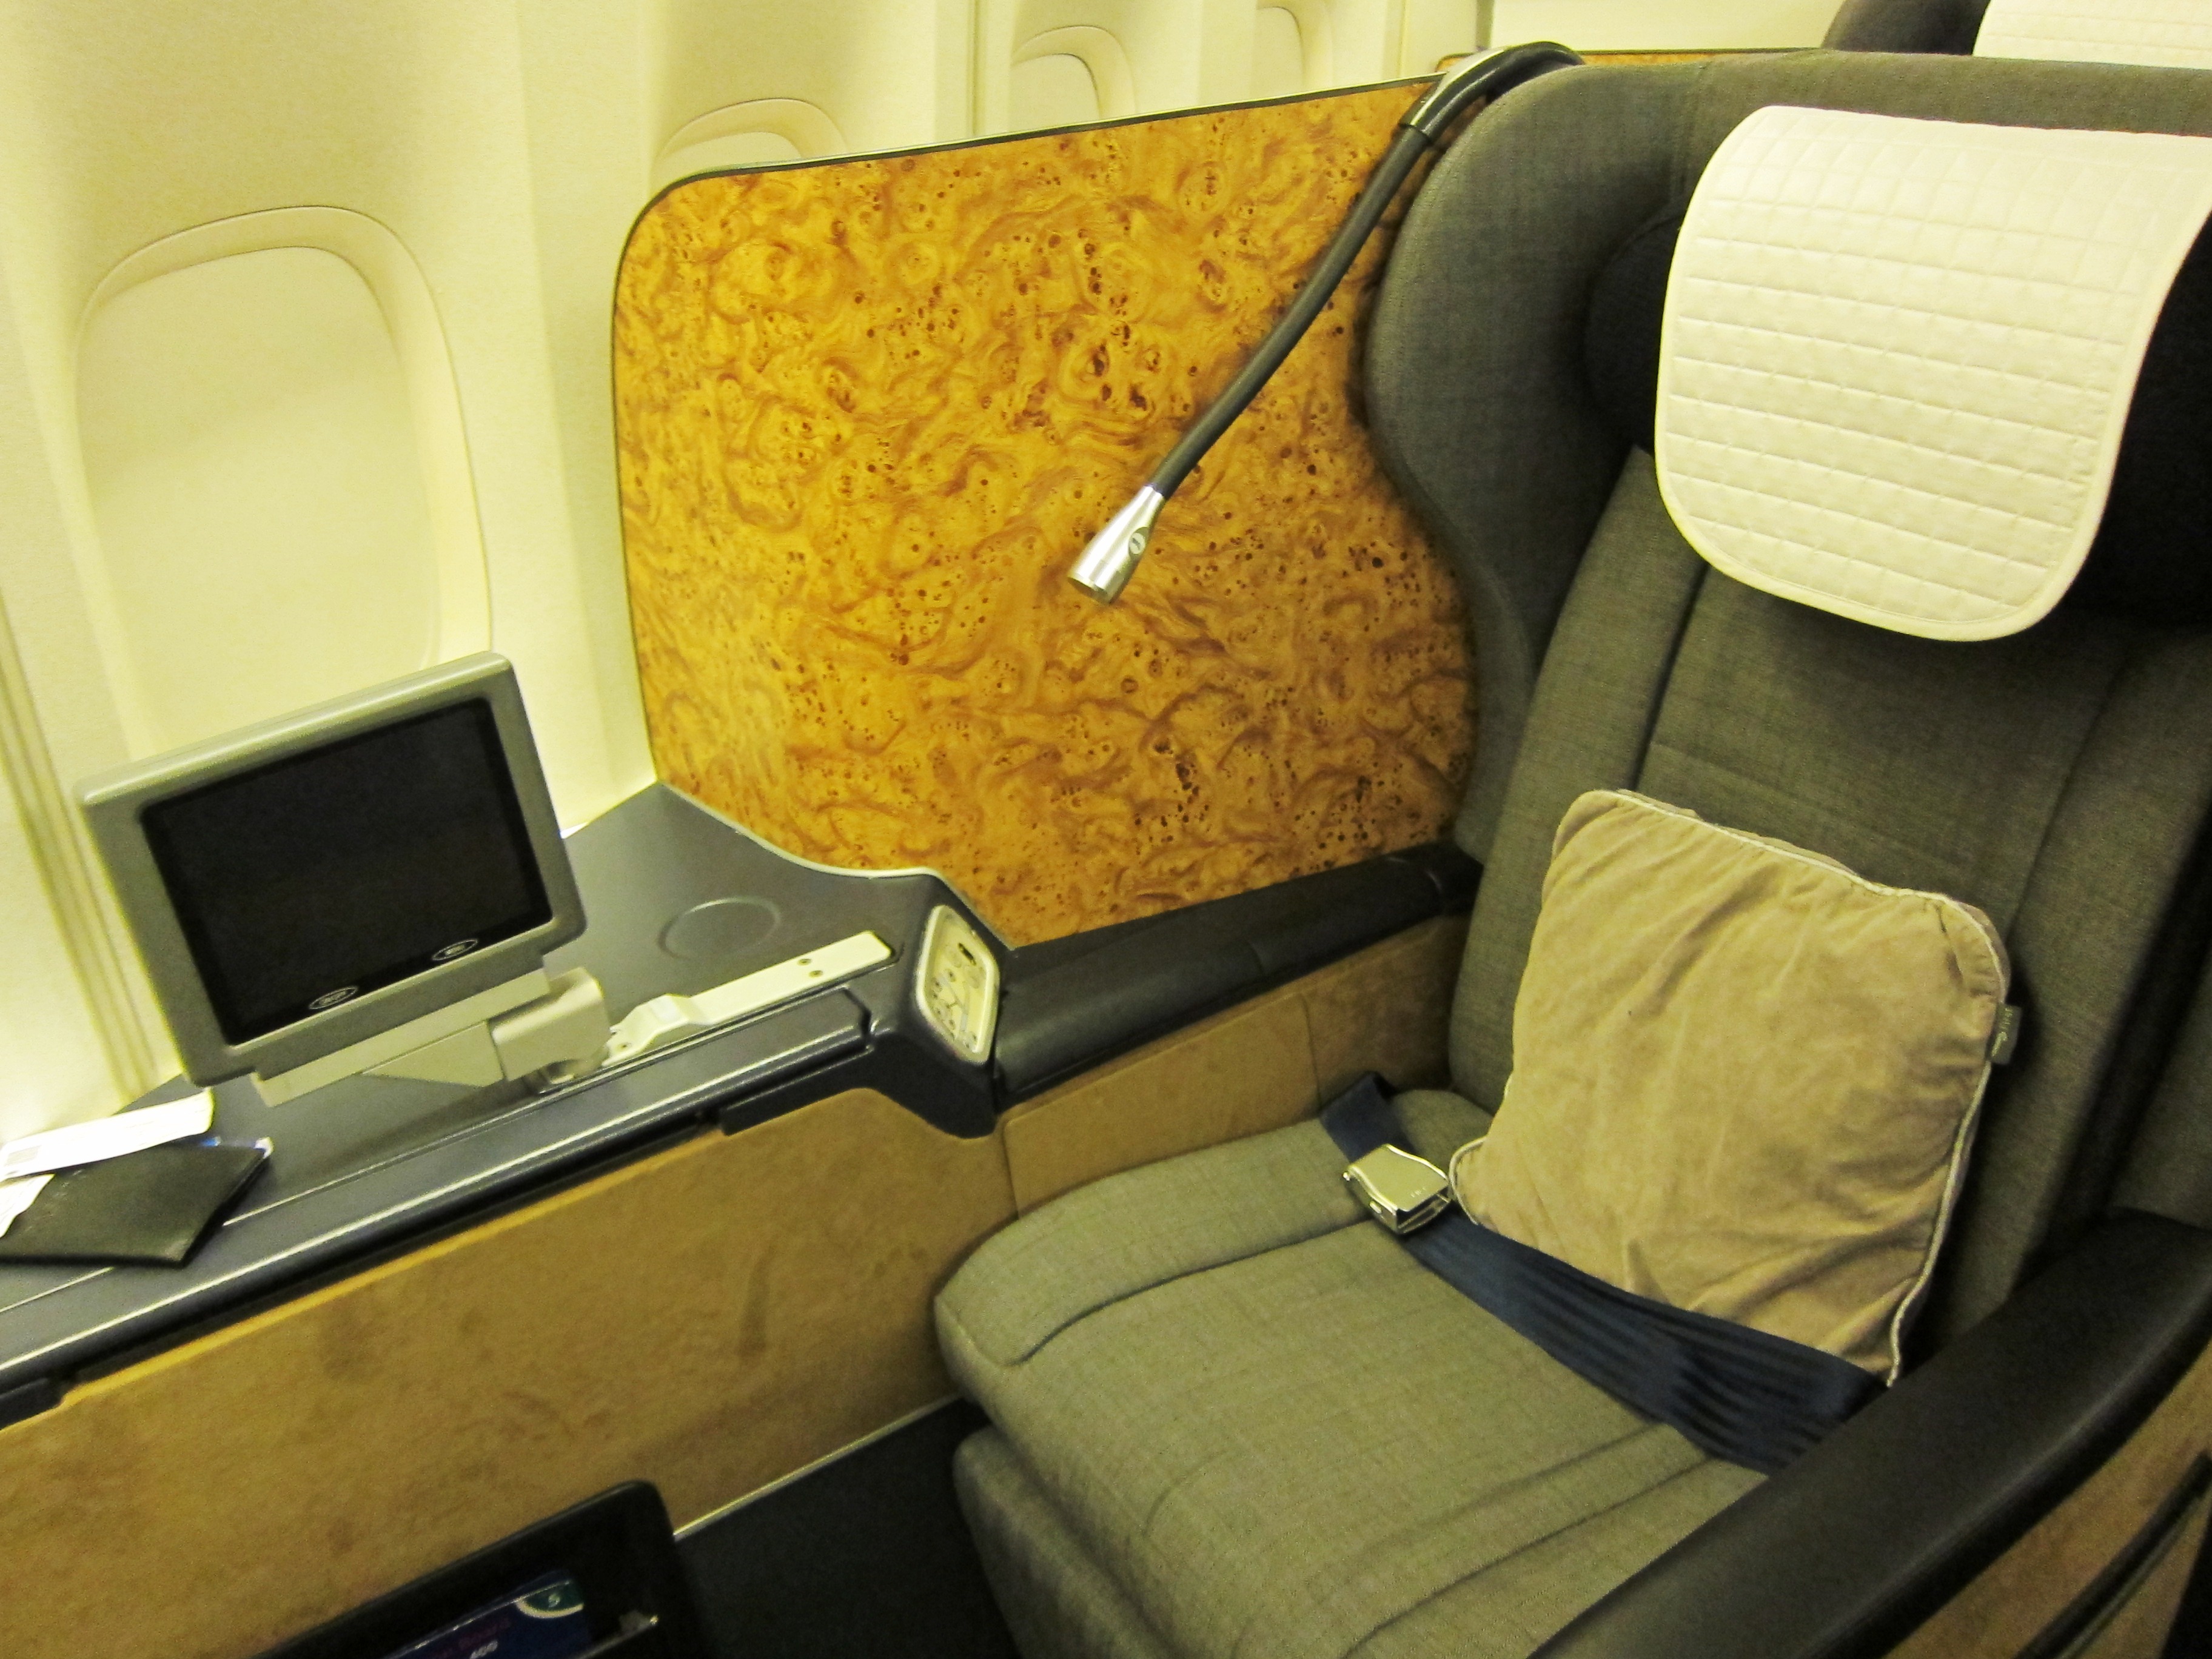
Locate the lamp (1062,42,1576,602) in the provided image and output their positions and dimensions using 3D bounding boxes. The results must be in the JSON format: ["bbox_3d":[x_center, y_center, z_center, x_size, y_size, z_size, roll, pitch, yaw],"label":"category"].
[{"bbox_3d":[0.201,-0.444,1.576,0.066,0.621,0.130,37,2,19],"label":"lamp"}]

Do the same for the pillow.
[{"bbox_3d":[0.522,0.222,1.402,0.389,0.208,0.326,23,76,48],"label":"pillow"}]
